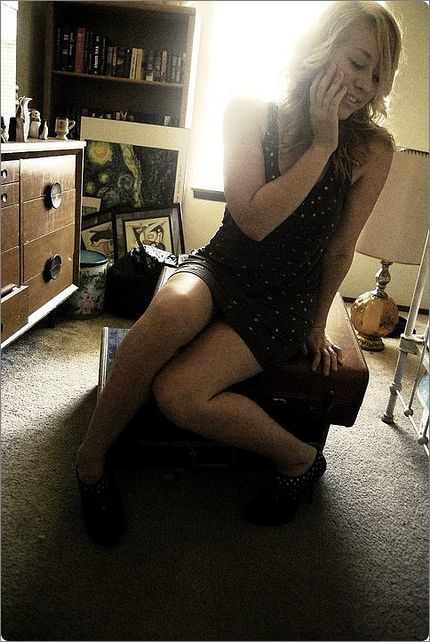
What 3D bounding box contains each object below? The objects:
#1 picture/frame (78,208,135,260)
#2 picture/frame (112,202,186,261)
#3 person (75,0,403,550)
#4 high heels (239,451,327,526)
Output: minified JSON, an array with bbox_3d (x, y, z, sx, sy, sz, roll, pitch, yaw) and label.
[{"bbox_3d":[-0.627,-0.496,2.741,0.401,0.368,0.092,1,0,-7],"label":"picture/frame"},{"bbox_3d":[-0.407,-0.531,2.787,0.507,0.495,0.022,-4,-4,-18],"label":"picture/frame"},{"bbox_3d":[0.070,-0.107,1.044,0.499,1.114,0.700,13,23,16],"label":"person"},{"bbox_3d":[0.162,0.374,1.150,0.093,0.071,0.239,3,22,39],"label":"high heels"}]
